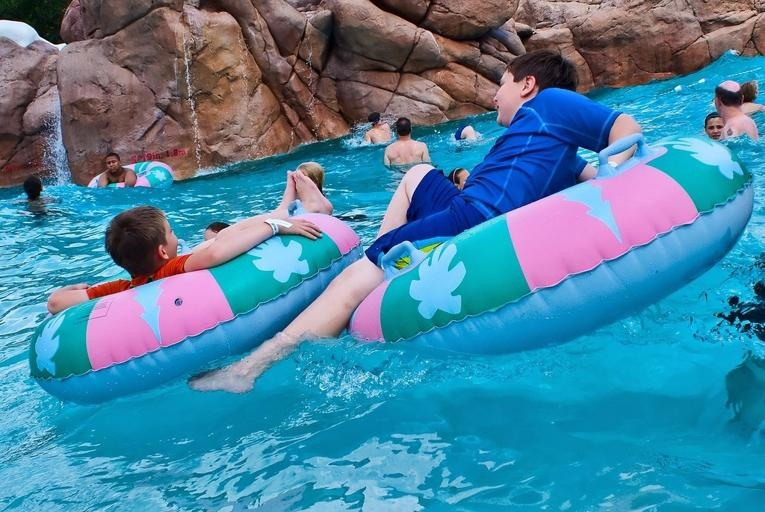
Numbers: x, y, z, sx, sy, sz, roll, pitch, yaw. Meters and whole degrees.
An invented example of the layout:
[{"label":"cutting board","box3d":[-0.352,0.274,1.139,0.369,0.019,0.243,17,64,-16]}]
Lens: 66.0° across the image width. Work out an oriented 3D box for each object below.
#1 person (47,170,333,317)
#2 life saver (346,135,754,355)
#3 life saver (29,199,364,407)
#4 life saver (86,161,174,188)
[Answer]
[{"label":"person","box3d":[-1.340,-0.126,4.518,1.763,0.601,1.295,-21,0,-27]},{"label":"life saver","box3d":[1.076,0.038,3.766,1.734,0.598,1.650,-22,1,35]},{"label":"life saver","box3d":[-1.582,0.327,5.223,2.526,0.638,2.745,-11,16,33]},{"label":"life saver","box3d":[-4.262,-1.386,9.935,0.606,0.155,0.601,-7,15,28]}]
